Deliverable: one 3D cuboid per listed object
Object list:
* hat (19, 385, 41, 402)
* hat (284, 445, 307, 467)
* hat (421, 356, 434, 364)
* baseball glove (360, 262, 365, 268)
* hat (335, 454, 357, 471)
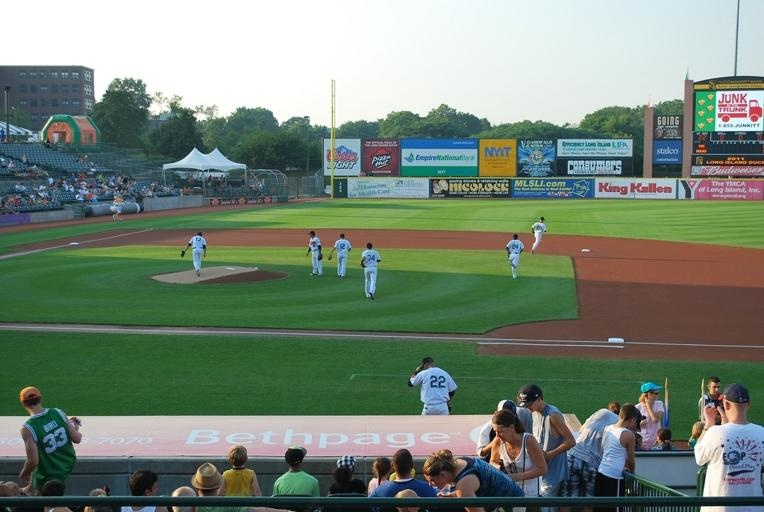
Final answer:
[{"bbox_3d":[-14.744,5.764,57.206,0.898,0.496,1.098,-4,3,-16],"label":"hat"},{"bbox_3d":[-3.618,8.414,57.229,0.889,0.996,1.375,-1,6,-4],"label":"hat"},{"bbox_3d":[2.055,4.635,60.805,0.320,0.322,0.347,11,-15,-20],"label":"hat"},{"bbox_3d":[-0.946,0.512,70.713,0.236,0.285,0.102,19,30,35],"label":"baseball glove"},{"bbox_3d":[-1.455,8.653,57.071,0.845,0.632,0.643,-10,15,-40],"label":"hat"}]
